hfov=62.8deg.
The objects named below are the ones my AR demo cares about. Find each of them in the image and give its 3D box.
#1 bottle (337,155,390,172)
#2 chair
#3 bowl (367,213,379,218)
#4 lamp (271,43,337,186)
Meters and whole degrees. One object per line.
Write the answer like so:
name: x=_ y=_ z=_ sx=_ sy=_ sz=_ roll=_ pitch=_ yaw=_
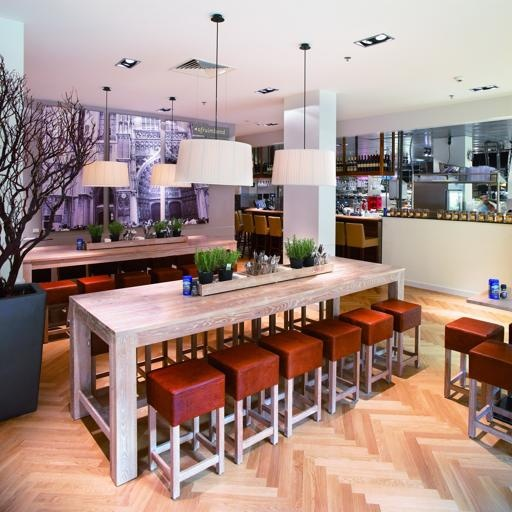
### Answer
bottle: x=2.003 y=-1.812 z=8.273 sx=0.327 sy=0.332 sz=1.383 roll=-5 pitch=11 yaw=-30
chair: x=0.961 y=-0.356 z=9.189 sx=1.058 sy=1.193 sz=3.947 roll=-7 pitch=12 yaw=-38
bowl: x=2.365 y=-0.829 z=8.512 sx=0.188 sy=0.126 sz=0.194 roll=0 pitch=6 yaw=0
lamp: x=0.417 y=-1.227 z=3.622 sx=0.570 sy=1.278 sz=0.571 roll=2 pitch=1 yaw=24
